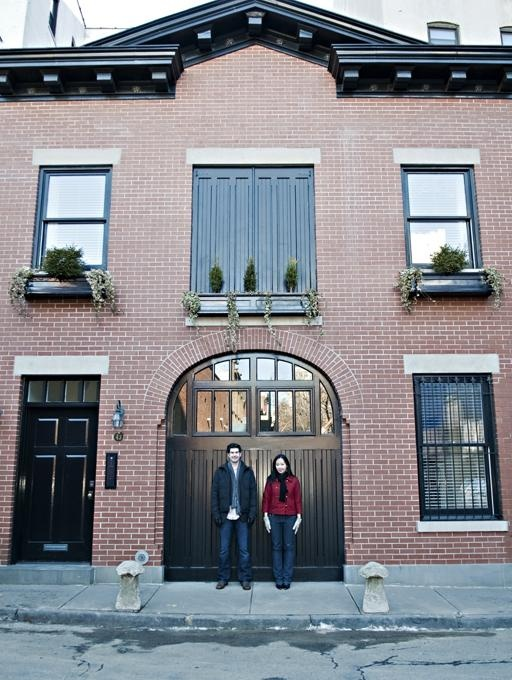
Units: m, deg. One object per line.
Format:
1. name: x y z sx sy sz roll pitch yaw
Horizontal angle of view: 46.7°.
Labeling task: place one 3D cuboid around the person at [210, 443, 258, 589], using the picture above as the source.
1. person: -0.290 2.373 7.996 0.597 1.855 0.300 1 -9 -3

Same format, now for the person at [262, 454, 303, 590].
1. person: 0.362 2.451 7.993 0.495 1.711 0.374 0 -9 0

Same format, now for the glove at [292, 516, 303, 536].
1. glove: 0.567 2.498 8.073 0.116 0.107 0.352 -13 3 0

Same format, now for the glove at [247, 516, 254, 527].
1. glove: -0.059 2.487 8.048 0.113 0.166 0.044 10 3 10

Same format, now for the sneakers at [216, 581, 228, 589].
1. sneakers: -0.446 3.244 7.817 0.116 0.079 0.251 -1 -9 9

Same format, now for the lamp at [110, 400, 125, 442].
1. lamp: -1.927 1.165 8.342 0.185 0.592 0.223 3 -10 -14

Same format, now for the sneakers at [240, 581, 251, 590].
1. sneakers: -0.124 3.237 7.792 0.123 0.094 0.228 0 -9 -1
